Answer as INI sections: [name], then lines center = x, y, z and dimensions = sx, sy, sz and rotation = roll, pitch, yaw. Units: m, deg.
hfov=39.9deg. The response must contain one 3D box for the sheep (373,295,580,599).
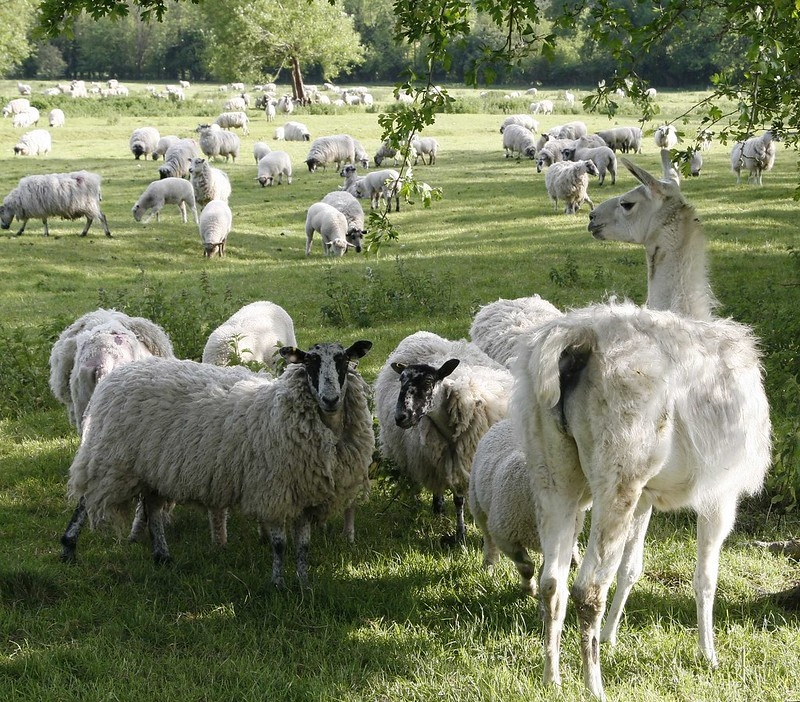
[sheep]
center = 0.663, 0.880, 11.056
dimensions = 1.306, 1.974, 3.154
rotation = -1, 9, -8
